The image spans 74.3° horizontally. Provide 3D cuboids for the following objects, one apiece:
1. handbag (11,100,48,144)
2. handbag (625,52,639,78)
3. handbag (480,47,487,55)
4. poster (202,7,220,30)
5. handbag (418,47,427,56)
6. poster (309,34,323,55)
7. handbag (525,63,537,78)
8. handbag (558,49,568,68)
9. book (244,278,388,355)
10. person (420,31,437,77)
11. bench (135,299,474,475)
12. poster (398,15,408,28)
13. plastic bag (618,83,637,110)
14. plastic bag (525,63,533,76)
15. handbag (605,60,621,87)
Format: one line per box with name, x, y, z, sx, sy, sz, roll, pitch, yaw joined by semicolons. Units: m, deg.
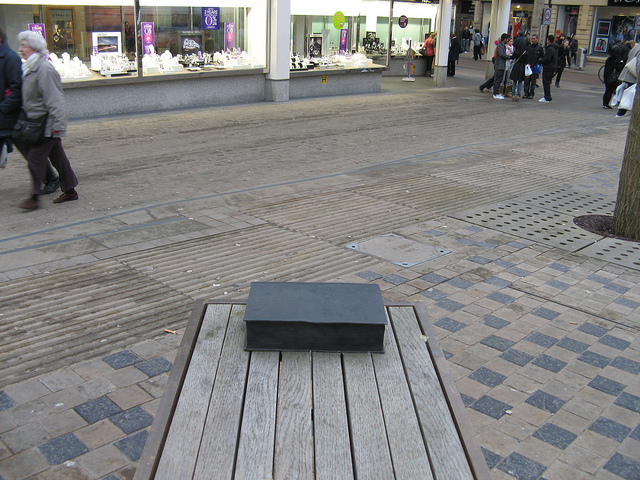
handbag;-4.430;-1.720;6.375;0.493;0.499;0.376;6;25;12
handbag;5.339;-2.993;7.186;0.187;0.383;0.306;15;28;26
handbag;15.411;-17.821;39.703;0.428;0.632;1.406;9;24;18
poster;-3.741;-7.541;14.286;0.802;0.767;0.088;-20;32;-36
handbag;5.701;-10.366;23.150;0.429;0.341;0.243;14;28;28
poster;-0.181;-7.872;16.944;0.285;0.758;0.807;18;29;31
handbag;9.093;-7.279;18.154;0.657;0.249;0.793;13;44;35
handbag;13.327;-9.970;23.171;0.273;0.802;2.063;15;26;26
book;-0.024;0.356;2.129;0.696;0.130;0.335;1;30;3
person;5.952;-10.324;23.291;0.860;2.141;1.025;5;26;9
bench;-0.063;0.604;1.894;1.265;0.116;1.084;0;21;-1
poster;4.213;-11.124;21.427;0.220;0.561;0.683;17;28;29
plastic bag;5.314;-2.463;7.269;0.177;0.406;0.560;17;28;30
plastic bag;8.808;-7.242;17.848;0.307;0.495;0.568;11;25;20
handbag;12.159;-6.865;17.336;0.516;1.052;1.343;16;27;29
